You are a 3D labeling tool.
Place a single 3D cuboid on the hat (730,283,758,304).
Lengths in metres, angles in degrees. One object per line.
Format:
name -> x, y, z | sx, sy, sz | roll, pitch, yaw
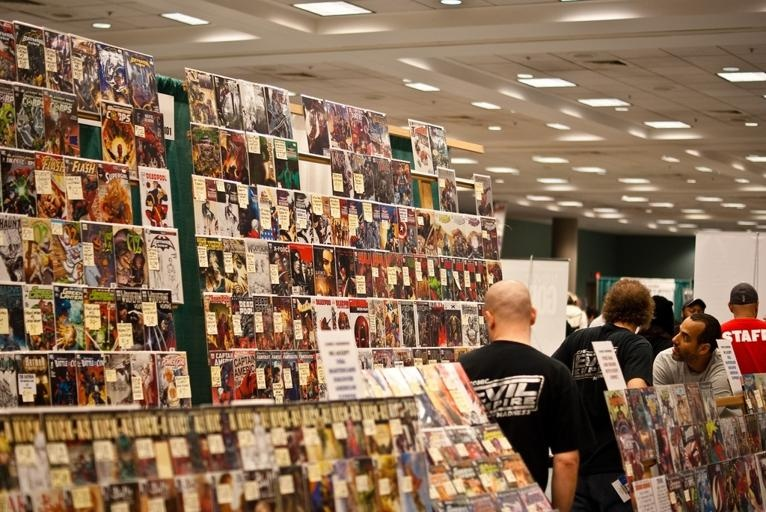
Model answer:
hat -> 3.896, 0.411, 6.909 | 0.203, 0.169, 0.308 | 3, 8, 20
